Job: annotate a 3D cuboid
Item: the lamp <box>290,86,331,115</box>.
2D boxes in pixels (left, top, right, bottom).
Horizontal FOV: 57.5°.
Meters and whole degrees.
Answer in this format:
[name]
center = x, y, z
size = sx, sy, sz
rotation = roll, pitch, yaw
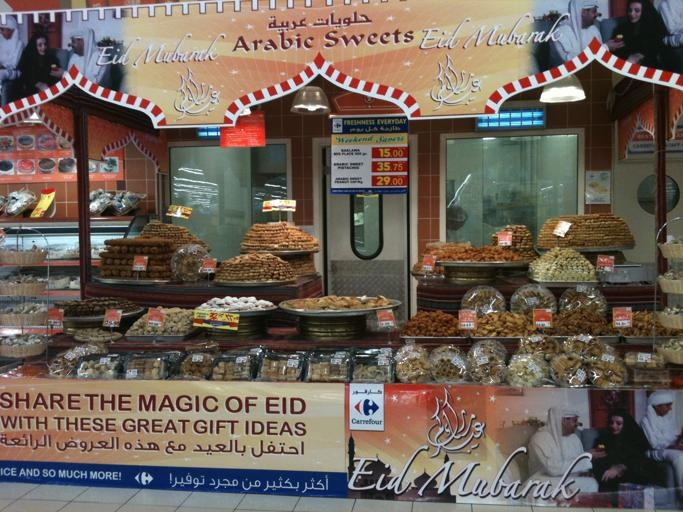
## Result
[lamp]
center = -0.329, -1.603, 6.287
size = 0.353, 0.257, 0.435
rotation = 3, 3, 22
